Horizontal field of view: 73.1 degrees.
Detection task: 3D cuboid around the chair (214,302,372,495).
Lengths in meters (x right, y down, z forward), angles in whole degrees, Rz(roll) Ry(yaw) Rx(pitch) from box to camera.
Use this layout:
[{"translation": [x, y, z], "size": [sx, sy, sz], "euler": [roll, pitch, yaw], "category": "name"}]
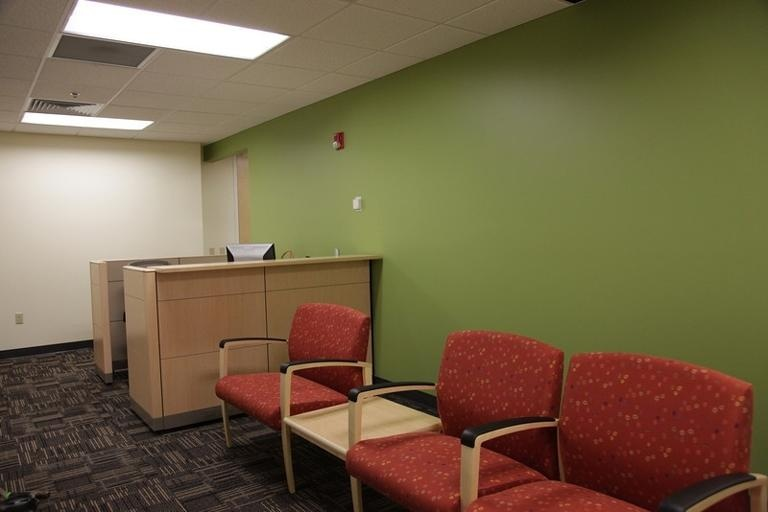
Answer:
[{"translation": [-0.643, 0.822, 4.259], "size": [1.198, 1.488, 1.530], "euler": [1, -2, -40], "category": "chair"}]
